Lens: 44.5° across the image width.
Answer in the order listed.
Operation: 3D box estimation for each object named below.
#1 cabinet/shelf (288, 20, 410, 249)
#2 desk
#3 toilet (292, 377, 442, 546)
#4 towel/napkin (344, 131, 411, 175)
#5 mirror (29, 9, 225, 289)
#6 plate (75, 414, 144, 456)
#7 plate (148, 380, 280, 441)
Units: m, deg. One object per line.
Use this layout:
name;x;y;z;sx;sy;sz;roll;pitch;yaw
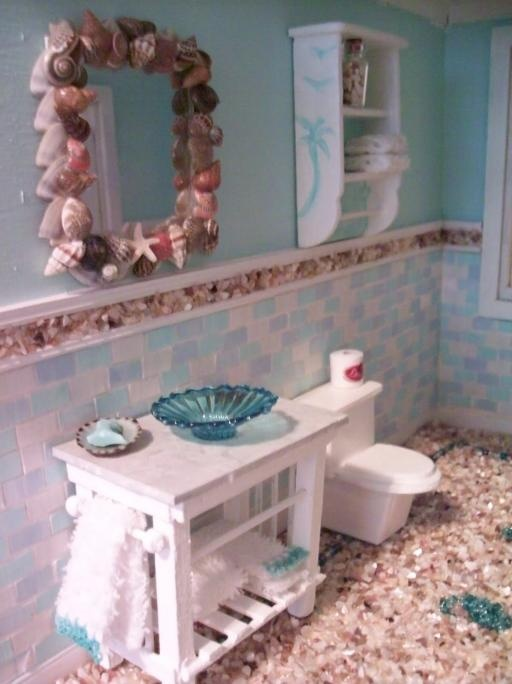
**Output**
cabinet/shelf;0.296;-0.691;2.075;0.266;0.791;0.626;11;36;24
desk;-0.133;0.522;1.540;0.396;0.663;0.713;10;18;36
toilet;0.399;0.445;2.212;0.502;0.483;0.326;10;18;42
towel/napkin;0.419;-0.649;2.174;0.155;0.109;0.198;3;19;15
mirror;-0.257;-0.418;1.425;0.094;0.550;0.598;11;20;29
plate;-0.326;0.194;1.388;0.126;0.043;0.174;2;14;11
plate;-0.109;0.158;1.494;0.169;0.059;0.168;-19;25;-37
